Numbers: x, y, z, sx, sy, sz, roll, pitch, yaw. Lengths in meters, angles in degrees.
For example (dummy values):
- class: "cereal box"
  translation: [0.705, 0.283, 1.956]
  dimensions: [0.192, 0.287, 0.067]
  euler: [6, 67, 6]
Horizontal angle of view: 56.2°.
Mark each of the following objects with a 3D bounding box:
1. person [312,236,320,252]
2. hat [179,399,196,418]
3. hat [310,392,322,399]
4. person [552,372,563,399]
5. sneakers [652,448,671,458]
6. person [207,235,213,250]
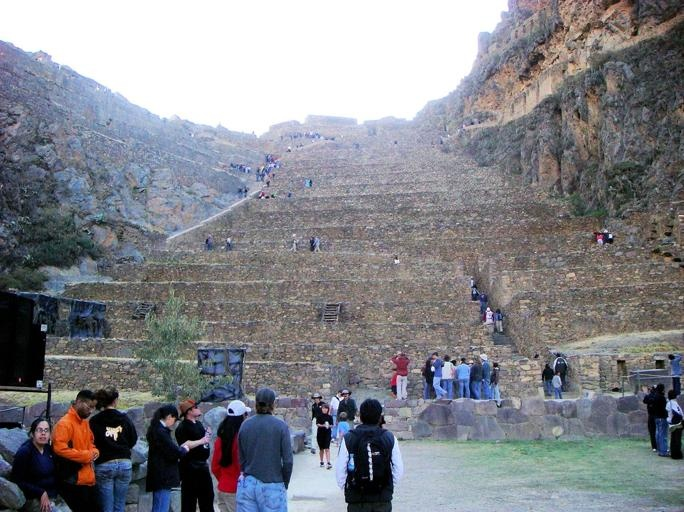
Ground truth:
- class: "person"
  translation: [-1.337, -0.598, 33.275]
  dimensions: [0.391, 0.972, 1.102]
  euler: [0, -15, -3]
- class: "hat"
  translation: [-2.056, 2.026, 8.518]
  dimensions: [0.201, 0.213, 0.278]
  euler: [3, -15, -13]
- class: "hat"
  translation: [-0.587, 3.250, 14.814]
  dimensions: [0.261, 0.107, 0.346]
  euler: [-2, -11, 1]
- class: "person"
  translation: [5.764, 3.448, 17.108]
  dimensions: [0.230, 0.700, 0.850]
  euler: [-5, -16, 16]
- class: "sneakers"
  translation: [5.998, 3.722, 12.021]
  dimensions: [0.263, 0.108, 0.091]
  euler: [-8, -9, 41]
- class: "person"
  translation: [-7.368, -0.710, 35.479]
  dimensions: [0.341, 0.987, 0.766]
  euler: [3, -15, -13]
